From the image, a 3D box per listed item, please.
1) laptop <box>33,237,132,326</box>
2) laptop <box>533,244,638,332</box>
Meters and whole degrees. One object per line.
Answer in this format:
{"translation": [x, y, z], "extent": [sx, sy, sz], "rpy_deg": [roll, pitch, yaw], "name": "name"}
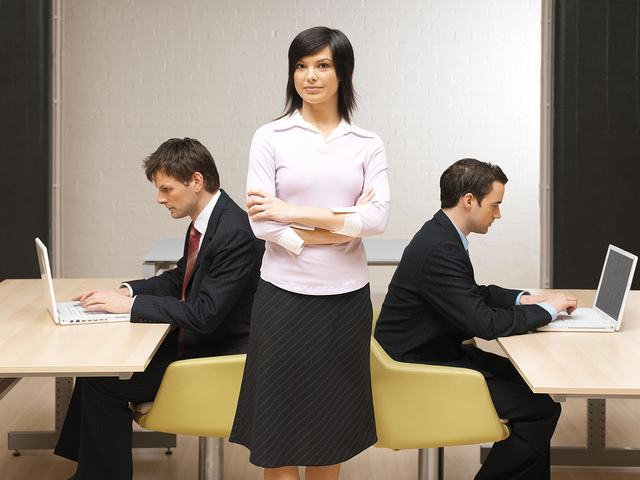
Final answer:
{"translation": [-0.935, 0.101, 2.302], "extent": [0.327, 0.262, 0.425], "rpy_deg": [0, 5, -20], "name": "laptop"}
{"translation": [1.059, 0.218, 2.347], "extent": [0.352, 0.299, 0.402], "rpy_deg": [-6, 6, 9], "name": "laptop"}
